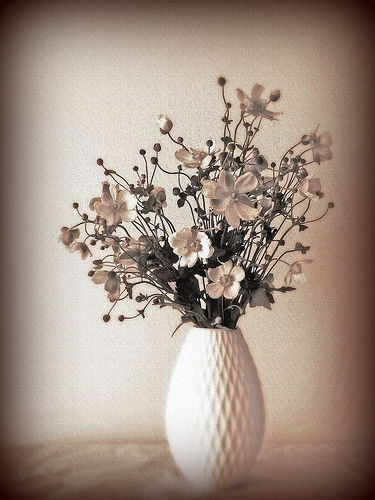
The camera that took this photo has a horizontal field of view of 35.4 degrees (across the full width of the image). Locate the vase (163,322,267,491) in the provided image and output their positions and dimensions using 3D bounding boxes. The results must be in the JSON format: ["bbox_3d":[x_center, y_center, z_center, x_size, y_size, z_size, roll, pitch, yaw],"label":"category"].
[{"bbox_3d":[0.055,0.291,1.098,0.188,0.311,0.080,3,-2,0],"label":"vase"}]

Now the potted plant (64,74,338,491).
[{"bbox_3d":[0.044,0.132,1.160,0.410,0.619,0.403,-5,-2,33],"label":"potted plant"}]
